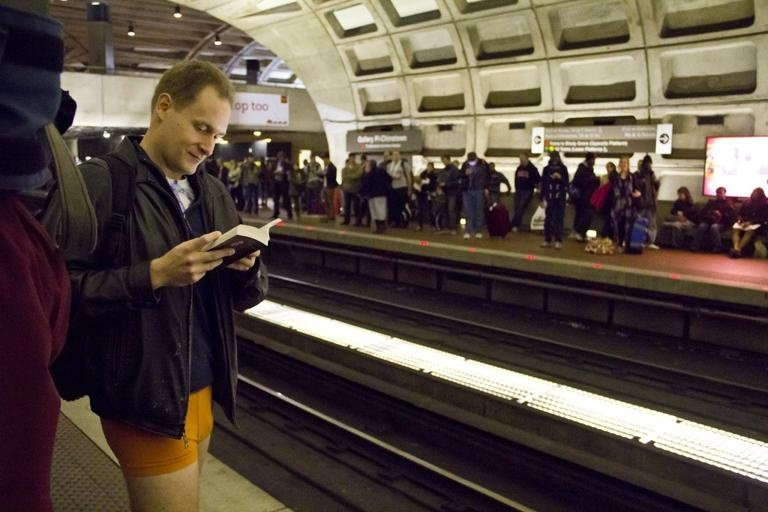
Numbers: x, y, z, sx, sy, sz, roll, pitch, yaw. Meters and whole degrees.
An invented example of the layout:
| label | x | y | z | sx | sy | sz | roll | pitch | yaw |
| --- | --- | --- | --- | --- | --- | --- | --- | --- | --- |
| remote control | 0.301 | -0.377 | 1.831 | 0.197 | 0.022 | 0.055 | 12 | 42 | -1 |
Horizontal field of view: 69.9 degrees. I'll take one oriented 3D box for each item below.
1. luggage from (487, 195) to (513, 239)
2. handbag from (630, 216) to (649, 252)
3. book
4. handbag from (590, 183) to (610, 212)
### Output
| label | x | y | z | sx | sy | sz | roll | pitch | yaw |
| --- | --- | --- | --- | --- | --- | --- | --- | --- | --- |
| luggage | 2.927 | -0.948 | 14.308 | 0.676 | 1.000 | 2.136 | -9 | 0 | 15 |
| handbag | 5.407 | -0.471 | 11.608 | 0.395 | 0.748 | 0.216 | 0 | 6 | -31 |
| book | -0.584 | -0.060 | 2.211 | 0.139 | 0.087 | 0.248 | -31 | -18 | 25 |
| handbag | 4.892 | -1.332 | 12.393 | 0.359 | 0.641 | 0.230 | 27 | 9 | 33 |
